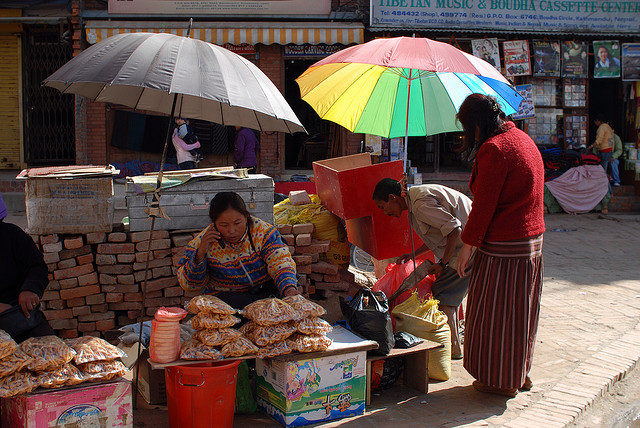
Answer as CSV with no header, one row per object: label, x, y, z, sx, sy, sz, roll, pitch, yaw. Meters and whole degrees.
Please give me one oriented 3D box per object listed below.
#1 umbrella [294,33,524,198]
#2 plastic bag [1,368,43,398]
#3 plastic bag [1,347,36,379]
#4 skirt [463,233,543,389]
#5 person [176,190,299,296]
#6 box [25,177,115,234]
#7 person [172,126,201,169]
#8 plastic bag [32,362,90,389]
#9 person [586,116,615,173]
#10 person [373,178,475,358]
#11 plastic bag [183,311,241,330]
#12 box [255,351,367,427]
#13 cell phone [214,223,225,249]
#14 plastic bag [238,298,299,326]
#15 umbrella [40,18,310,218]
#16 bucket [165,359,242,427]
umbrella,0.991,-1.049,6.554,2.174,1.613,2.145,6,-17,-18
plastic bag,-2.518,1.420,4.833,0.358,0.210,0.112,-20,4,-13
plastic bag,-2.549,1.249,4.872,0.304,0.109,0.182,4,18,19
skirt,1.892,0.987,6.017,0.723,1.586,0.452,7,14,15
person,-0.815,0.311,5.863,1.207,1.060,0.374,5,14,4
box,-2.765,-0.067,7.136,1.175,0.688,1.212,2,-7,-6
person,-2.985,-1.470,12.788,0.446,1.099,0.397,-20,52,-12
plastic bag,-2.190,1.370,4.906,0.274,0.115,0.244,-1,6,-36
person,7.616,-1.771,15.561,0.593,1.335,0.522,7,14,14
person,1.416,0.677,7.091,1.280,2.267,1.106,-3,12,13
plastic bag,-0.987,0.992,5.401,0.285,0.122,0.265,1,-4,-11
box,-0.052,1.710,5.617,0.780,0.509,0.775,1,-1,-33
cell phone,-0.989,0.221,5.834,0.061,0.171,0.142,-34,1,-18
plastic bag,-0.496,0.932,5.629,0.589,0.227,0.643,0,2,-23
umbrella,-1.410,-1.405,5.800,2.341,1.073,1.208,5,14,3
bucket,-1.067,1.600,5.465,0.622,0.504,0.644,0,-1,0
